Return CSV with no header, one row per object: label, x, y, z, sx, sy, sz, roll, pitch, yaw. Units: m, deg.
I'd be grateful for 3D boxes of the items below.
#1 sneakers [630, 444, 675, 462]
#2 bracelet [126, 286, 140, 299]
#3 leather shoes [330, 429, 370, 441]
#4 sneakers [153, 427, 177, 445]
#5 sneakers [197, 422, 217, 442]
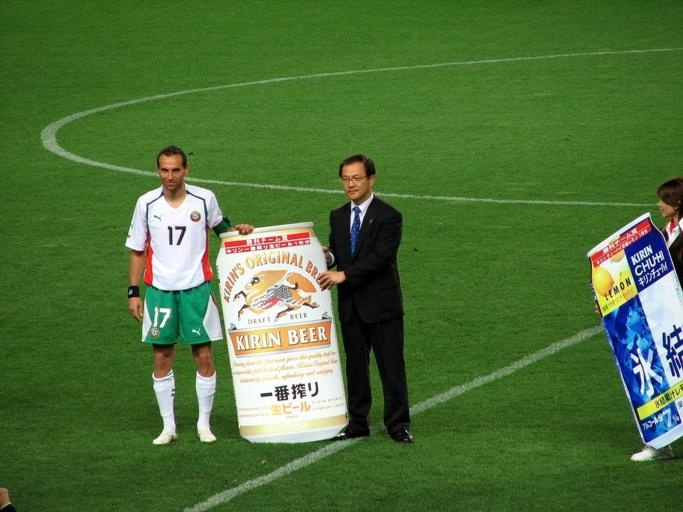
sneakers,2.747,1.746,10.529,0.353,0.137,0.146,-6,3,8
bracelet,-1.939,0.328,11.032,0.130,0.114,0.122,1,0,5
leather shoes,0.089,1.636,10.997,0.350,0.123,0.111,6,-7,-16
sneakers,-1.610,1.659,11.047,0.222,0.088,0.115,-10,11,-35
sneakers,-1.238,1.625,11.010,0.109,0.074,0.194,-3,18,-16
